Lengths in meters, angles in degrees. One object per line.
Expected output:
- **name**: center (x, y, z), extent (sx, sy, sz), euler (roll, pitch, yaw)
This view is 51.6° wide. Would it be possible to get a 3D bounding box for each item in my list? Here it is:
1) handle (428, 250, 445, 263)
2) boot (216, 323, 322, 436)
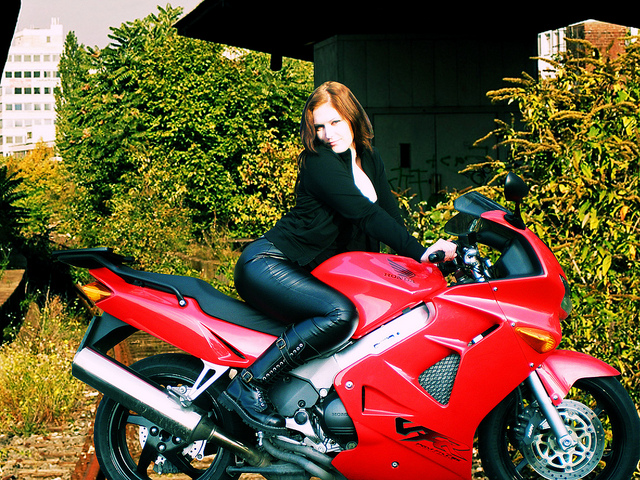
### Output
- **handle**: center (0.754, 0.109, 4.279), extent (0.104, 0.081, 0.037), euler (3, 0, 5)
- **boot**: center (-0.296, 0.983, 4.422), extent (0.526, 0.259, 0.756), euler (23, 51, 18)
